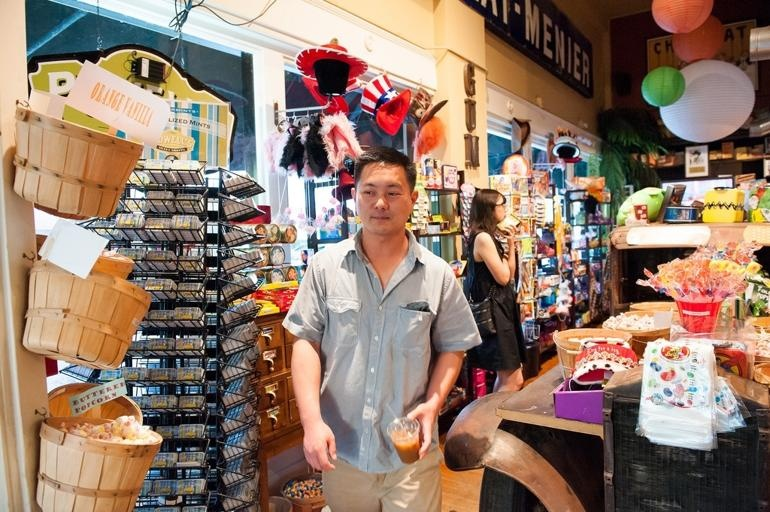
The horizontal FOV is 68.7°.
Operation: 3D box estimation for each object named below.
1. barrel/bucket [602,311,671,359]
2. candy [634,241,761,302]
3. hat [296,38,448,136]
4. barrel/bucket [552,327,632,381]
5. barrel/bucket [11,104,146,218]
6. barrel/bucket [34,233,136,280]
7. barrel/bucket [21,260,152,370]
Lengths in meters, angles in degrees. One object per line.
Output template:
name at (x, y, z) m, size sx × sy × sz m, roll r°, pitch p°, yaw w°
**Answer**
barrel/bucket at (1.454, 0.382, 3.156) m, size 0.390 × 0.229 × 0.434 m, roll 5°, pitch 9°, yaw 36°
candy at (1.529, 0.074, 2.673) m, size 0.532 × 0.278 × 0.328 m, roll -1°, pitch -3°, yaw -18°
hat at (-0.241, -1.250, 4.260) m, size 0.446 × 0.522 × 1.126 m, roll -4°, pitch -4°, yaw 26°
barrel/bucket at (1.004, 0.458, 2.804) m, size 0.284 × 0.172 × 0.281 m, roll 0°, pitch -1°, yaw 0°
barrel/bucket at (-1.228, -0.341, 2.302) m, size 0.409 × 0.297 × 0.445 m, roll 22°, pitch -2°, yaw 1°
barrel/bucket at (-1.208, 0.048, 2.409) m, size 0.252 × 0.099 × 0.250 m, roll 14°, pitch -6°, yaw 2°
barrel/bucket at (-1.202, 0.236, 2.270) m, size 0.459 × 0.442 × 0.172 m, roll 0°, pitch -3°, yaw -28°
